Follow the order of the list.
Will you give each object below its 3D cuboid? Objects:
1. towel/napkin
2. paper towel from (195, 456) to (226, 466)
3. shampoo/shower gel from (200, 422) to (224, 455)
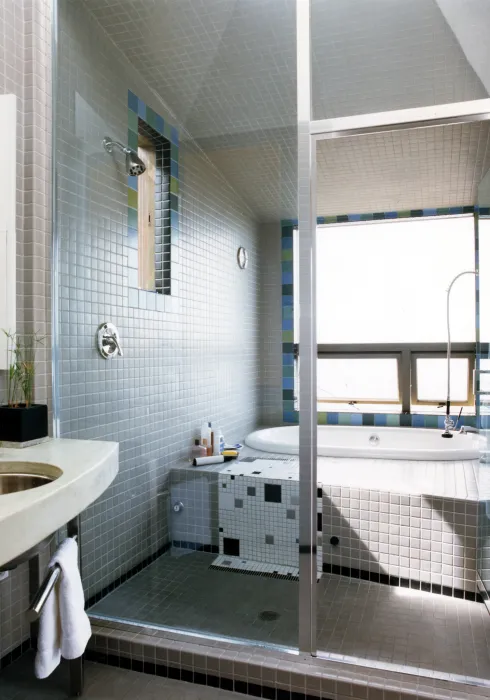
[{"bbox_3d":[-0.563,0.790,1.768,0.125,0.310,0.295,0,-8,-12],"label":"towel/napkin"},{"bbox_3d":[-0.139,0.431,2.238,0.127,0.048,0.015,0,-1,18],"label":"paper towel"},{"bbox_3d":[-0.120,0.350,2.320,0.103,0.163,0.103,-1,0,24],"label":"shampoo/shower gel"}]
